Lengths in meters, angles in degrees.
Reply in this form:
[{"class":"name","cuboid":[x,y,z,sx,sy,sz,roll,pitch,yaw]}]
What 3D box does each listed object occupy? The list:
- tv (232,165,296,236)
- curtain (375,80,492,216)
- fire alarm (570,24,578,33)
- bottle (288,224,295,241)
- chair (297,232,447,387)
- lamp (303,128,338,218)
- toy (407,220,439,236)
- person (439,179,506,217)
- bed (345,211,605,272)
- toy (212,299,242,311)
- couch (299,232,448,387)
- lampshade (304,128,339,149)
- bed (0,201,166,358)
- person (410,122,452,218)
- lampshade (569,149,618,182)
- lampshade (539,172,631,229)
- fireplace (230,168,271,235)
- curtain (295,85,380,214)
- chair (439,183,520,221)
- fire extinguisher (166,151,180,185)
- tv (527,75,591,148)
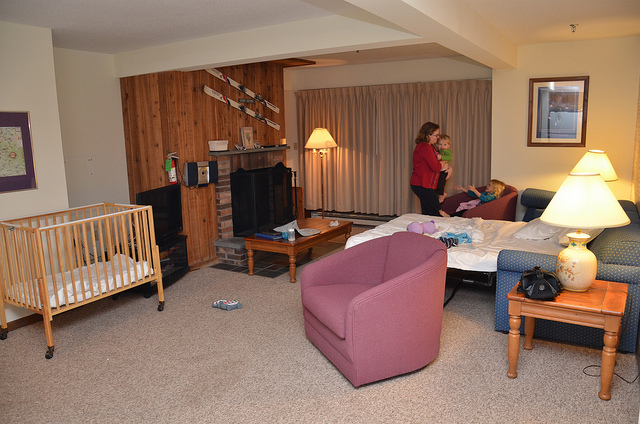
[{"class":"tv","cuboid":[-0.997,-0.263,7.764,0.500,1.021,1.405,0,7,19]},{"class":"curtain","cuboid":[2.019,-1.092,8.316,2.084,2.494,0.305,5,15,27]},{"class":"fire alarm","cuboid":[3.109,-2.256,5.593,0.106,0.095,0.046,6,15,41]},{"class":"bottle","cuboid":[-0.402,0.314,6.324,0.088,0.155,0.128,-2,13,-3]},{"class":"chair","cuboid":[0.564,0.839,4.662,1.237,1.107,1.298,-7,10,-23]},{"class":"lamp","cuboid":[0.040,-0.617,8.364,0.591,1.735,0.586,-3,2,-41]},{"class":"toy","cuboid":[1.277,0.197,5.660,0.262,0.092,0.209,-3,4,-1]},{"class":"person","cuboid":[2.434,-0.201,7.125,0.772,0.827,0.628,1,27,2]},{"class":"bed","cuboid":[1.880,0.305,5.553,1.562,0.459,1.150,5,14,28]},{"class":"toy","cuboid":[-1.120,1.125,5.541,0.214,0.072,0.157,2,4,5]},{"class":"couch","cuboid":[0.593,0.956,4.737,1.448,1.308,1.510,-3,9,-21]},{"class":"lampshade","cuboid":[0.034,-1.297,8.162,0.424,0.260,0.421,3,12,30]},{"class":"bed","cuboid":[-2.792,0.508,5.584,1.553,1.817,2.094,2,8,21]},{"class":"person","cuboid":[1.876,-0.708,7.542,0.622,1.724,0.560,-11,53,14]},{"class":"lampshade","cuboid":[3.485,-0.578,5.885,0.603,0.458,0.561,-5,5,-31]},{"class":"lampshade","cuboid":[2.386,-0.121,4.166,0.793,0.445,0.793,3,10,29]},{"class":"fireplace","cuboid":[-1.101,-0.178,7.262,0.299,0.859,0.898,11,15,38]},{"class":"curtain","cuboid":[0.435,-1.273,9.062,1.834,2.400,0.621,8,14,34]},{"class":"chair","cuboid":[2.576,-0.114,7.041,0.741,0.635,0.737,-2,10,-10]},{"class":"fire extinguisher","cuboid":[-2.091,-0.632,6.475,0.178,0.453,0.144,-2,13,-3]},{"class":"tv","cuboid":[3.475,-1.449,6.655,0.812,0.983,0.109,5,15,25]}]
